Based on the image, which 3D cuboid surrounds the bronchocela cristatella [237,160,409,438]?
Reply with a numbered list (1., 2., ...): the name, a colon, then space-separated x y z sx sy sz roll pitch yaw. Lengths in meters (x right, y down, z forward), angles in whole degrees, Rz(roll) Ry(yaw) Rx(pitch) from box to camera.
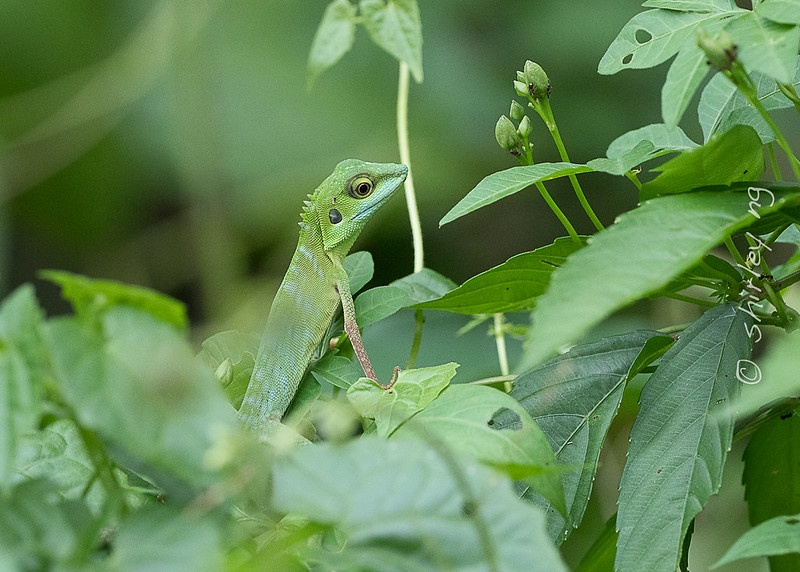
1. bronchocela cristatella: -0.120 0.005 1.304 0.158 0.378 0.236 35 -12 -22
